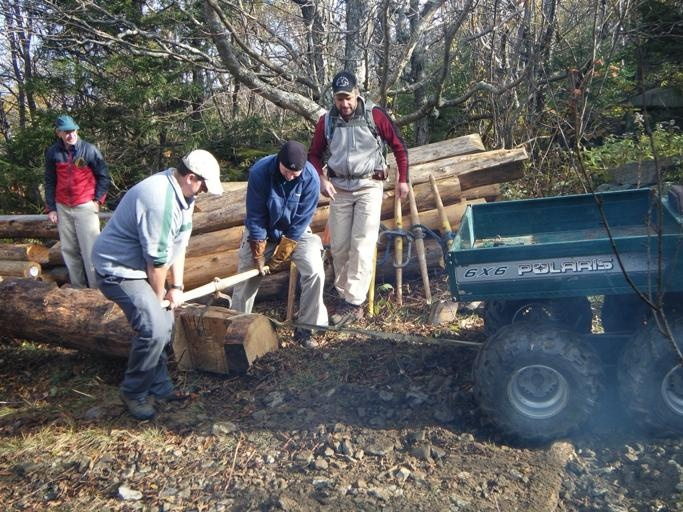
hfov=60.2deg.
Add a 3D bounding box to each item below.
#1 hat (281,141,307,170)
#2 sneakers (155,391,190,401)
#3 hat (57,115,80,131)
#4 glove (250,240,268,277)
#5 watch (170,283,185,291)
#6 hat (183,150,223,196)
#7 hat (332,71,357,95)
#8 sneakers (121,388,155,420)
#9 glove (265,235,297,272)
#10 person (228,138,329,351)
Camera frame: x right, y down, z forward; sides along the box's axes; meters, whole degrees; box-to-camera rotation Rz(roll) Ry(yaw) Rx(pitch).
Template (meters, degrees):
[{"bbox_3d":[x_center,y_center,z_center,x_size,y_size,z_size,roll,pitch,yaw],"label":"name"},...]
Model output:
[{"bbox_3d":[-0.516,-1.080,6.316,0.248,0.247,0.320,1,17,-19],"label":"hat"},{"bbox_3d":[-1.802,1.511,6.334,0.360,0.140,0.120,-2,8,-10],"label":"sneakers"},{"bbox_3d":[-3.820,-1.848,8.186,0.251,0.234,0.444,-10,12,-24],"label":"hat"},{"bbox_3d":[-0.968,0.022,6.884,0.160,0.422,0.135,-9,12,-18],"label":"glove"},{"bbox_3d":[-1.745,0.334,6.292,0.112,0.065,0.111,7,-7,-36],"label":"watch"},{"bbox_3d":[-1.354,-0.820,5.764,0.348,0.418,0.262,-9,12,-22],"label":"hat"},{"bbox_3d":[0.031,-2.068,6.973,0.230,0.176,0.348,-2,16,6],"label":"hat"},{"bbox_3d":[-2.191,1.556,6.147,0.480,0.183,0.202,8,-27,19],"label":"sneakers"},{"bbox_3d":[-0.744,-0.012,6.961,0.222,0.466,0.144,22,25,-17],"label":"glove"},{"bbox_3d":[-0.732,-0.081,6.898,1.060,2.454,0.815,-5,12,-1],"label":"person"}]
